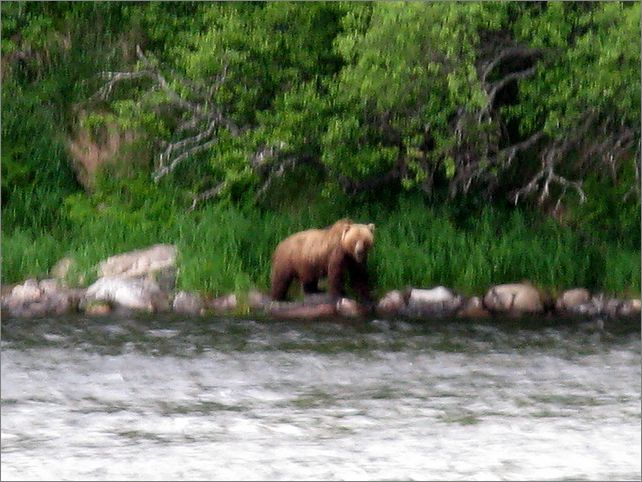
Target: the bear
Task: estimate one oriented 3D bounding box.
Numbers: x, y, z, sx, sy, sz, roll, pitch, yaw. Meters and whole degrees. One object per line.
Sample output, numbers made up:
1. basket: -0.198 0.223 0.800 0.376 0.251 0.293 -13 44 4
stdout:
1. bear: 0.078 0.333 24.188 1.730 1.234 0.716 -4 1 37
